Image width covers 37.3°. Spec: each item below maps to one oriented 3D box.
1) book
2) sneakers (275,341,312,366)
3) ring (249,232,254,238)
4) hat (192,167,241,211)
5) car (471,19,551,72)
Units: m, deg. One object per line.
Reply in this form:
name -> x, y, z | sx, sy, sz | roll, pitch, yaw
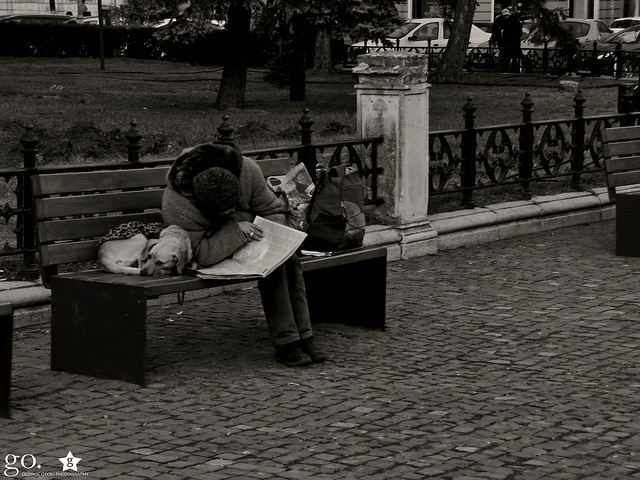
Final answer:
book -> -0.507, 0.056, 6.617 | 0.507, 0.367, 0.697 | 5, 12, 39
sneakers -> -0.201, 0.827, 6.750 | 0.341, 0.121, 0.121 | 0, 3, 34
ring -> -0.498, -0.042, 6.767 | 0.048, 0.037, 0.011 | 3, 10, 15
hat -> -0.718, -0.361, 6.518 | 0.351, 0.287, 0.187 | -19, -3, -2
car -> 5.605, -6.105, 29.195 | 0.871, 1.737, 2.028 | -9, 12, -31
